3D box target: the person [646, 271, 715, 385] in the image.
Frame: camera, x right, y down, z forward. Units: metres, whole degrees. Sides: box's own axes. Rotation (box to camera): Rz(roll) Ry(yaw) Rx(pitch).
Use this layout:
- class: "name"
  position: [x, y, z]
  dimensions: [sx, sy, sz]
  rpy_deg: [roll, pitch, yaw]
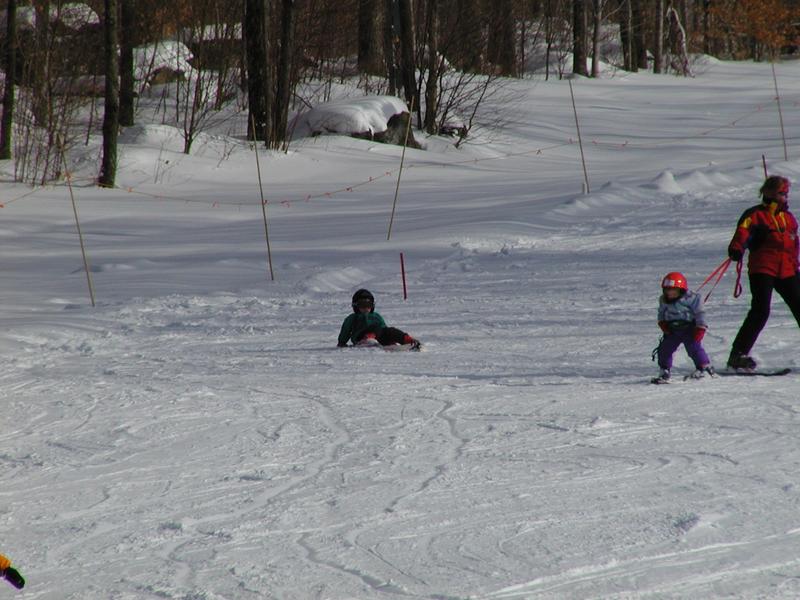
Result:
- class: "person"
  position: [3.098, 0.297, 11.911]
  dimensions: [0.654, 1.192, 0.546]
  rpy_deg: [0, 8, 10]

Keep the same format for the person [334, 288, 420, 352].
- class: "person"
  position: [-0.352, 0.306, 13.464]
  dimensions: [0.801, 0.633, 1.145]
  rpy_deg: [-12, 13, -30]

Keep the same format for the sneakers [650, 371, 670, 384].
- class: "sneakers"
  position: [2.866, 0.835, 11.896]
  dimensions: [0.202, 0.135, 0.349]
  rpy_deg: [1, 6, 14]

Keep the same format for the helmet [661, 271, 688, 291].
- class: "helmet"
  position: [3.076, -0.203, 11.962]
  dimensions: [0.345, 0.223, 0.325]
  rpy_deg: [1, 11, 5]

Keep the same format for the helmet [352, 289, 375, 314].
- class: "helmet"
  position: [-0.454, 0.016, 13.616]
  dimensions: [0.244, 0.309, 0.242]
  rpy_deg: [-2, 7, -7]

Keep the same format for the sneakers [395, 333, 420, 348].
- class: "sneakers"
  position: [0.050, 0.507, 13.546]
  dimensions: [0.369, 0.085, 0.148]
  rpy_deg: [9, -1, 32]
